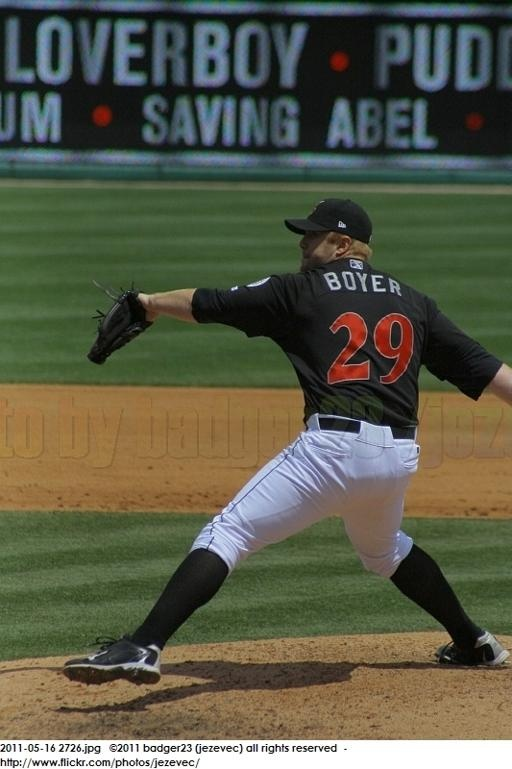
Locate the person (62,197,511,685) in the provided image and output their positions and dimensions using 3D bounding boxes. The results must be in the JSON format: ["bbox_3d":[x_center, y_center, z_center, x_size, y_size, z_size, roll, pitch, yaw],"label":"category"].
[{"bbox_3d":[0.175,0.303,3.526,1.417,1.417,0.492,-3,7,-9],"label":"person"}]

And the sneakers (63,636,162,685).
[{"bbox_3d":[-0.408,0.856,3.336,0.362,0.111,0.155,1,37,2],"label":"sneakers"}]

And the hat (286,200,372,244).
[{"bbox_3d":[0.259,-0.547,3.657,0.263,0.122,0.151,17,6,0],"label":"hat"}]

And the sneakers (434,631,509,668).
[{"bbox_3d":[0.766,0.932,3.765,0.285,0.108,0.104,2,-5,12],"label":"sneakers"}]
